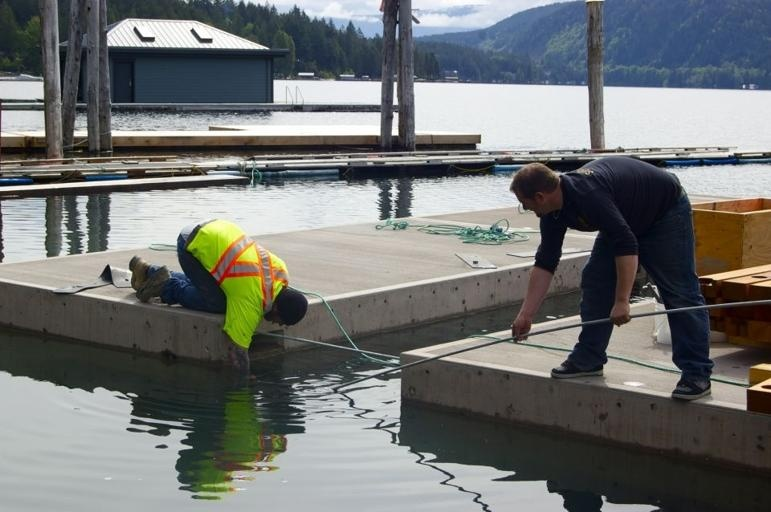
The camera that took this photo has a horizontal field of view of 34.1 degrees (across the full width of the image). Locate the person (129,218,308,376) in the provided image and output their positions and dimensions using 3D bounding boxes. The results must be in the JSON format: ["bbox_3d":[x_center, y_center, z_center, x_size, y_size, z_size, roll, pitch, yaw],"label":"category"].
[{"bbox_3d":[-1.612,0.131,13.127,1.810,1.069,1.435,21,30,2],"label":"person"}]

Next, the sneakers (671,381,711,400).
[{"bbox_3d":[2.786,1.194,11.380,0.373,0.152,0.145,-2,1,-11],"label":"sneakers"}]

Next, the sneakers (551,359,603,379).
[{"bbox_3d":[1.803,1.050,11.885,0.547,0.210,0.181,2,0,-2],"label":"sneakers"}]
